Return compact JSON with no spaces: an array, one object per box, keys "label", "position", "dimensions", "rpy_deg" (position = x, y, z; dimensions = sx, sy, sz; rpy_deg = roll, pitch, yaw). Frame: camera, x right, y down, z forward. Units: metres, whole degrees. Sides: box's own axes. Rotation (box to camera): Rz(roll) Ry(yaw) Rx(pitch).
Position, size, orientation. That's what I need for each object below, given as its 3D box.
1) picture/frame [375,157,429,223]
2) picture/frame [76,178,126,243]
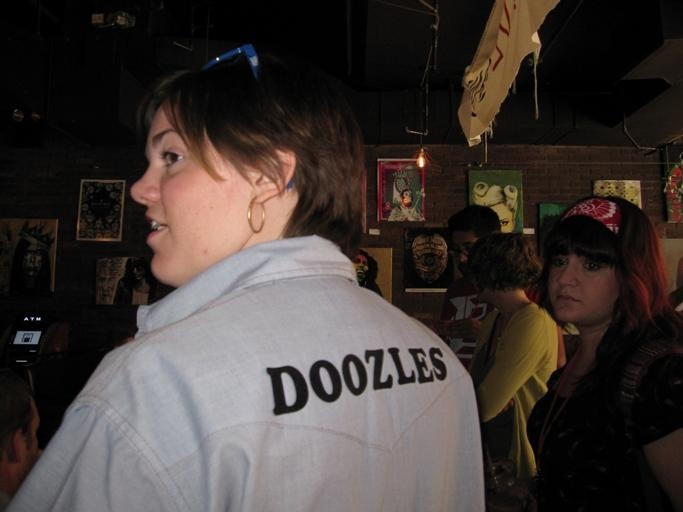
[{"label":"picture/frame","position":[0.692,-0.750,6.653],"dimensions":[0.541,0.795,0.057],"rpy_deg":[-1,35,9]},{"label":"picture/frame","position":[-2.354,-0.458,5.805],"dimensions":[0.489,0.800,0.027],"rpy_deg":[5,-12,-13]}]
